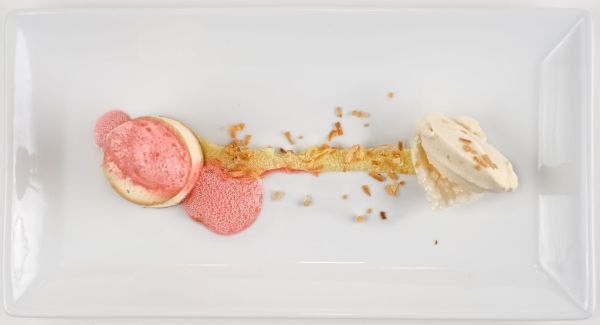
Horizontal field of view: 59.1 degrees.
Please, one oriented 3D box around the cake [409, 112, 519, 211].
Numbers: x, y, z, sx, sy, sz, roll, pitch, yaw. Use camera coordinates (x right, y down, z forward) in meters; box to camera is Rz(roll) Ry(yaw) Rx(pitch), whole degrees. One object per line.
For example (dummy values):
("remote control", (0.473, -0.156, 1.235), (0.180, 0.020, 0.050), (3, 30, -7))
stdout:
("cake", (0.701, -0.011, 2.367), (0.467, 0.434, 0.194), (22, -2, 24))
